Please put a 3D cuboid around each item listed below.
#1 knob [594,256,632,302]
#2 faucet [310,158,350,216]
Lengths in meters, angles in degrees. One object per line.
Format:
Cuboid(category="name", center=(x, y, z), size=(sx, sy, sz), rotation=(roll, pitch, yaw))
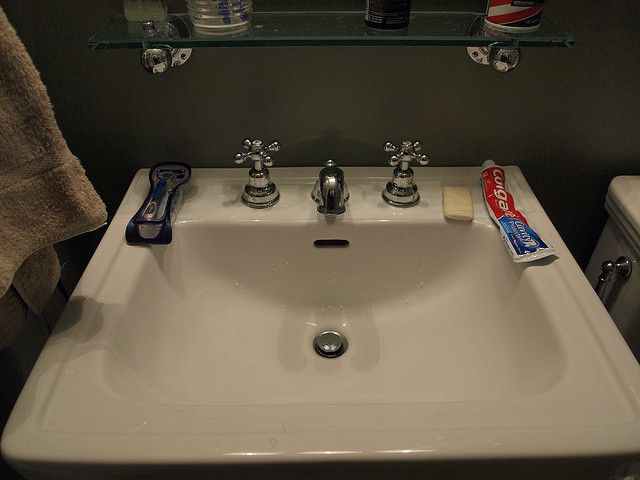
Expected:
Cuboid(category="knob", center=(0.605, 0.067, 1.049), size=(0.065, 0.102, 0.079), rotation=(10, 39, 17))
Cuboid(category="faucet", center=(0.024, -0.114, 1.008), size=(0.065, 0.070, 0.179), rotation=(1, 21, 1))
